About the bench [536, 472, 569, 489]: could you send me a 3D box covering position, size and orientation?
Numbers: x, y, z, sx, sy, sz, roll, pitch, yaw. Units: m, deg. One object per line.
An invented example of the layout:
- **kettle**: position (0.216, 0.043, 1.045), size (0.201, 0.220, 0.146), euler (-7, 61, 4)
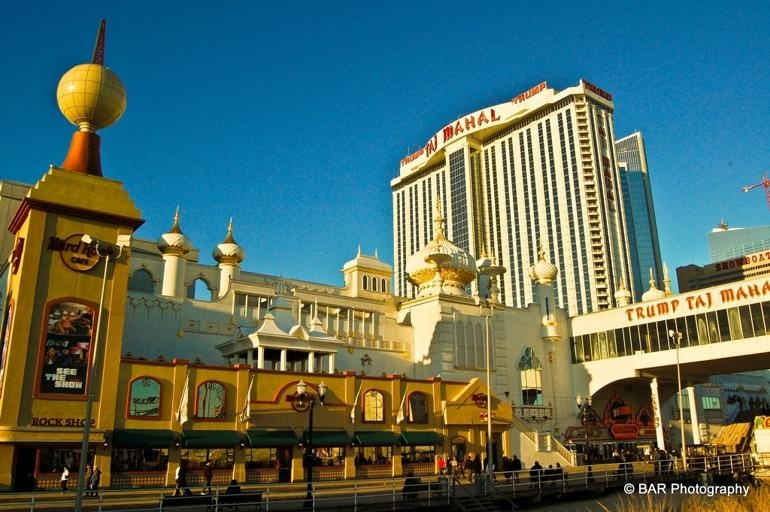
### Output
- **bench**: position (11.869, 16.232, 48.866), size (1.585, 0.705, 0.834), euler (5, -9, -28)

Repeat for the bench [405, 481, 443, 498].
- **bench**: position (2.684, 15.467, 44.887), size (2.638, 0.924, 3.865), euler (-4, -20, 10)

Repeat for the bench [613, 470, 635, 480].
- **bench**: position (18.963, 17.411, 54.075), size (1.374, 1.173, 4.945), euler (-7, -20, 17)
